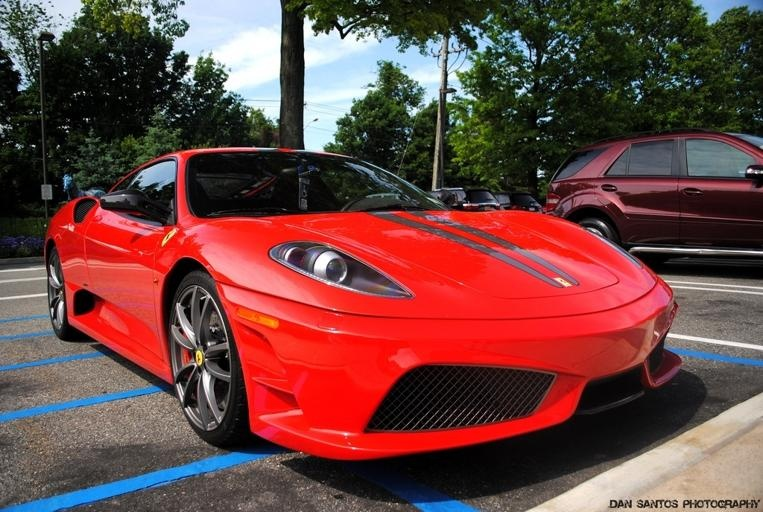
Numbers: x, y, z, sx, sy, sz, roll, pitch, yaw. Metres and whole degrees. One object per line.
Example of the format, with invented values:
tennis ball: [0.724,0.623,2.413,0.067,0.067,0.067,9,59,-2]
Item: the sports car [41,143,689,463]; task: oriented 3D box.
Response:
sports car: [-0.821,0.023,4.880,3.419,1.706,5.910,-3,5,-42]
